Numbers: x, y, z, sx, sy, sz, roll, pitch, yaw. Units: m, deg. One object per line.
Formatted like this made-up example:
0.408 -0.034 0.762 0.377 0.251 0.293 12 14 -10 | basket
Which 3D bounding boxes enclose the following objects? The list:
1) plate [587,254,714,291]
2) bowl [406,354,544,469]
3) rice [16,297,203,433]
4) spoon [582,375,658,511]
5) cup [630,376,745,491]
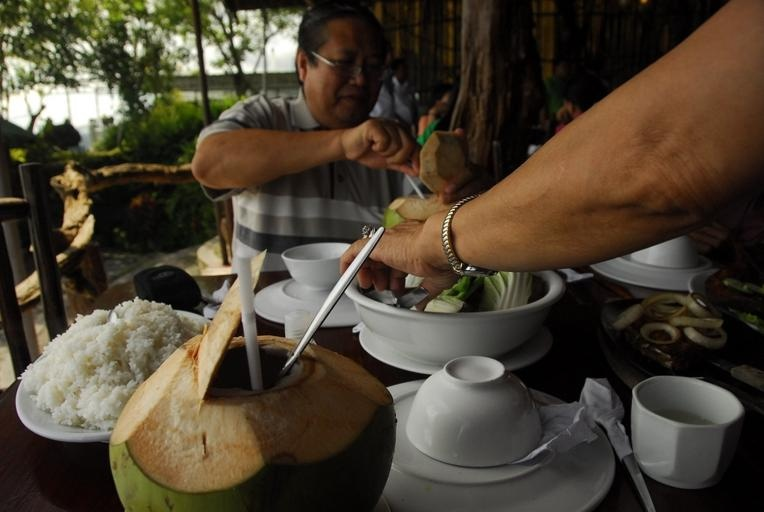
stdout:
0.695 0.051 1.467 0.210 0.039 0.191 -3 14 15 | plate
0.155 0.234 0.931 0.220 0.115 0.220 -5 16 1 | bowl
-0.458 0.193 0.941 0.233 0.103 0.238 14 36 30 | rice
0.351 0.287 0.888 0.051 0.051 0.207 4 38 -13 | spoon
0.465 0.272 0.861 0.153 0.110 0.147 -6 14 1 | cup
